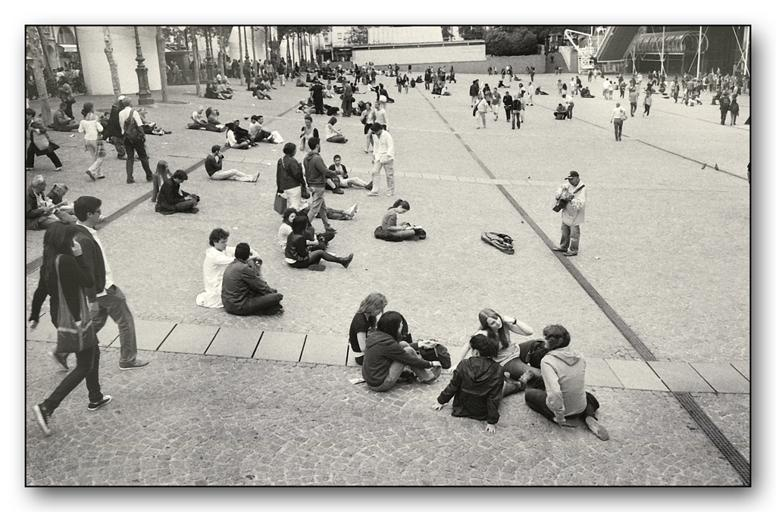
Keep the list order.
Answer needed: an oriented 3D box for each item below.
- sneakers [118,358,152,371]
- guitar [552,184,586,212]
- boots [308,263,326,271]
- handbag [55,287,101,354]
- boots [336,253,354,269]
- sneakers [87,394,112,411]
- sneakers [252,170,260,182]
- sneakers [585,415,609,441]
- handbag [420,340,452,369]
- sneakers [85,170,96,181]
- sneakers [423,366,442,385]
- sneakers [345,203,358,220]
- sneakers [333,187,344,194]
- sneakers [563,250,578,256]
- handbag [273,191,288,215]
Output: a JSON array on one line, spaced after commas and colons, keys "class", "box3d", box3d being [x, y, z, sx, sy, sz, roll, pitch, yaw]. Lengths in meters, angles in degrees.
[{"class": "sneakers", "box3d": [-4.054, 1.716, 10.237, 0.468, 0.165, 0.163, -3, 15, -20]}, {"class": "guitar", "box3d": [4.269, -1.271, 14.941, 0.623, 0.241, 0.682, 2, 37, 32]}, {"class": "boots", "box3d": [-1.519, 0.232, 13.580, 0.336, 0.128, 0.134, 0, -3, -5]}, {"class": "handbag", "box3d": [-4.452, 0.906, 9.077, 0.477, 0.939, 0.310, -12, 22, -29]}, {"class": "boots", "box3d": [-0.911, 0.065, 13.933, 0.287, 0.311, 0.426, -2, 19, -4]}, {"class": "sneakers", "box3d": [-4.309, 2.166, 9.688, 0.163, 0.134, 0.369, 21, 32, 35]}, {"class": "sneakers", "box3d": [-4.085, -2.449, 19.743, 0.121, 0.333, 0.252, 12, -9, 45]}, {"class": "sneakers", "box3d": [3.127, 2.551, 9.561, 0.154, 0.393, 0.212, -41, 11, 52]}, {"class": "handbag", "box3d": [0.768, 1.598, 10.534, 0.540, 0.213, 0.410, 7, -10, 36]}, {"class": "sneakers", "box3d": [-8.397, -2.273, 18.139, 0.252, 0.117, 0.338, 9, -22, 36]}, {"class": "sneakers", "box3d": [0.733, 1.917, 10.392, 0.270, 0.106, 0.265, -9, 5, 30]}, {"class": "sneakers", "box3d": [-0.925, -1.158, 16.704, 0.168, 0.495, 0.213, -10, 56, -45]}, {"class": "sneakers", "box3d": [-1.464, -1.900, 18.915, 0.308, 0.267, 0.132, 3, 43, 0]}, {"class": "sneakers", "box3d": [4.379, -0.063, 15.329, 0.338, 0.204, 0.121, 3, 33, 7]}, {"class": "handbag", "box3d": [-2.567, -1.248, 15.309, 0.379, 0.616, 0.645, 0, 26, -14]}]
